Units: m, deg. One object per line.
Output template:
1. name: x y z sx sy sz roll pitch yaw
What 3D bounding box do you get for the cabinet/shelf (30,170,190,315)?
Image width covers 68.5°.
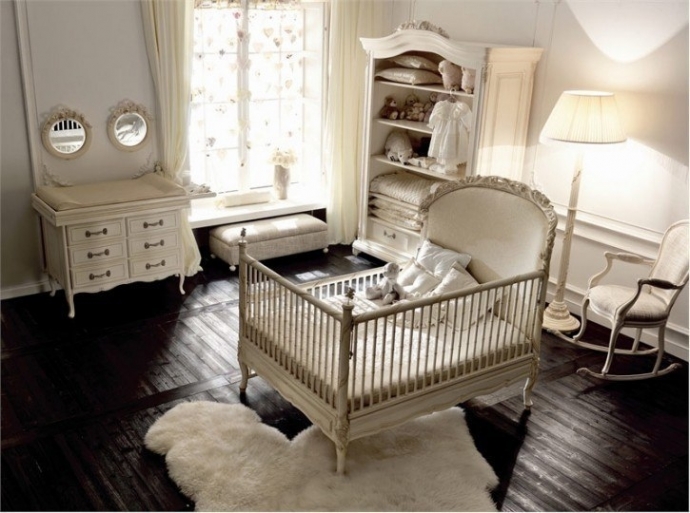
1. cabinet/shelf: -2.327 -0.441 5.339 1.734 1.450 1.206 -14 28 -34

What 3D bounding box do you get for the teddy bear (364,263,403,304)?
1. teddy bear: 0.311 0.202 4.088 0.286 0.366 0.307 2 2 -25

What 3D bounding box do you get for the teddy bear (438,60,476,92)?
1. teddy bear: 1.200 -1.822 5.123 0.370 0.337 0.289 -13 30 -22

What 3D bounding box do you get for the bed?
1. bed: 0.339 0.266 4.217 2.327 2.126 1.836 -13 28 -30

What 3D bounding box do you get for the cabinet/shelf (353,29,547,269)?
1. cabinet/shelf: 1.094 -1.144 5.068 0.915 2.698 1.823 -15 32 -35

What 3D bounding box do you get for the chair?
1. chair: 2.420 0.312 4.267 0.892 1.306 0.723 -8 24 -24
